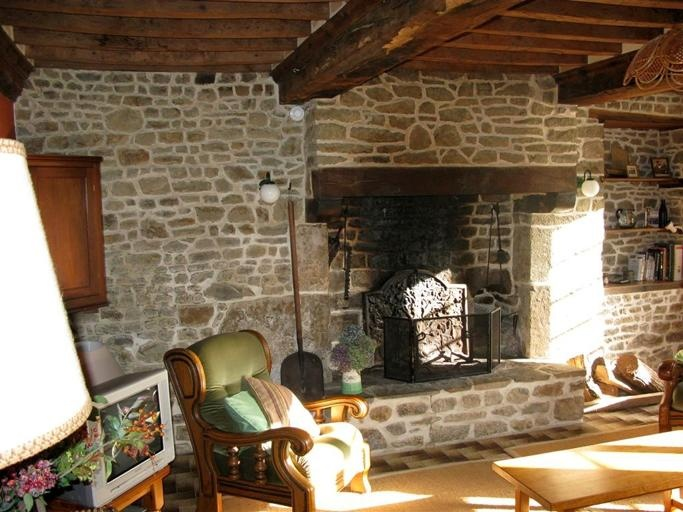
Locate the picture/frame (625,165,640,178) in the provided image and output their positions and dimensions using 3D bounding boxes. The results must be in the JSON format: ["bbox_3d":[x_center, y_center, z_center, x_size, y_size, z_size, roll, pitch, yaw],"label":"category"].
[{"bbox_3d":[3.427,-1.001,6.113,0.264,0.186,0.024,1,-9,-22],"label":"picture/frame"}]

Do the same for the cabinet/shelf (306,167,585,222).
[{"bbox_3d":[0.937,-0.567,4.662,2.379,0.332,0.276,-1,-12,-2],"label":"cabinet/shelf"}]

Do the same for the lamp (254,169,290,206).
[{"bbox_3d":[-0.579,-0.584,4.428,0.303,0.300,0.338,-3,6,-4],"label":"lamp"}]

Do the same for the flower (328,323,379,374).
[{"bbox_3d":[0.097,0.808,4.444,0.490,0.264,0.441,3,-26,-3],"label":"flower"}]

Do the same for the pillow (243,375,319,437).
[{"bbox_3d":[-0.375,0.906,3.147,0.139,0.423,0.465,-46,-19,16],"label":"pillow"}]

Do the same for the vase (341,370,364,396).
[{"bbox_3d":[0.096,1.060,4.343,0.261,0.190,0.213,-1,-1,4],"label":"vase"}]
